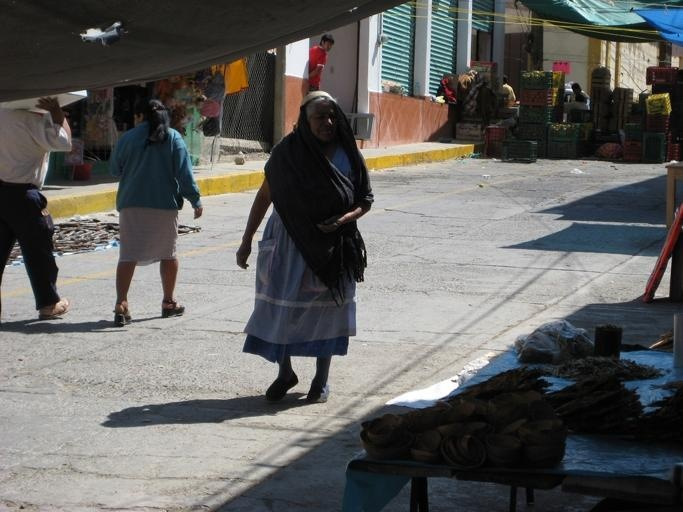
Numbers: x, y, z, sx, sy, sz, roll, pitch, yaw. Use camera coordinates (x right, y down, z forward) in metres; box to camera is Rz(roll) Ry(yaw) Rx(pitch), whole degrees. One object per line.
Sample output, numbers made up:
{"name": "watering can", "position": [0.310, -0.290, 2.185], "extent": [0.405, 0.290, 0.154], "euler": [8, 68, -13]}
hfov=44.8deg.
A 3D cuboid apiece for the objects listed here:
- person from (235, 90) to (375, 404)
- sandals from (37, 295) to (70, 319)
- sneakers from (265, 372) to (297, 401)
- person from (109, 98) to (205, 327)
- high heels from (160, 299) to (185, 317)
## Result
{"name": "person", "position": [-0.244, -0.046, 5.595], "extent": [0.900, 2.079, 0.489], "euler": [-1, 14, -4]}
{"name": "sandals", "position": [-2.632, 0.482, 7.613], "extent": [0.304, 0.174, 0.122], "euler": [-26, 34, -21]}
{"name": "sneakers", "position": [-0.430, 0.897, 5.721], "extent": [0.118, 0.096, 0.299], "euler": [8, 19, 32]}
{"name": "person", "position": [-1.788, -0.429, 7.608], "extent": [0.945, 1.974, 0.684], "euler": [-8, 16, -30]}
{"name": "high heels", "position": [-1.594, 0.494, 7.662], "extent": [0.129, 0.085, 0.226], "euler": [7, 10, 36]}
